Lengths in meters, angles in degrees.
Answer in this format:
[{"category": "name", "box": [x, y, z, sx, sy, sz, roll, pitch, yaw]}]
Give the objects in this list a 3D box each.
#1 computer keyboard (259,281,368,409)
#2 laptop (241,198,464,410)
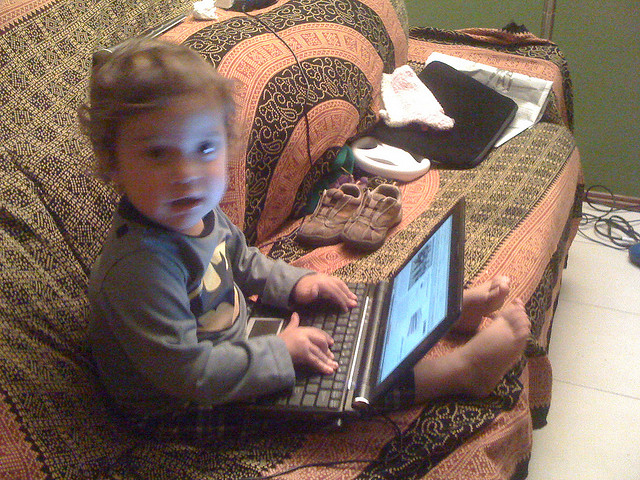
[{"category": "computer keyboard", "box": [-0.001, 0.191, 1.127, 0.160, 0.014, 0.293, 7, 47, 13]}, {"category": "laptop", "box": [0.053, 0.192, 1.264, 0.429, 0.267, 0.438, 9, 40, 7]}]
